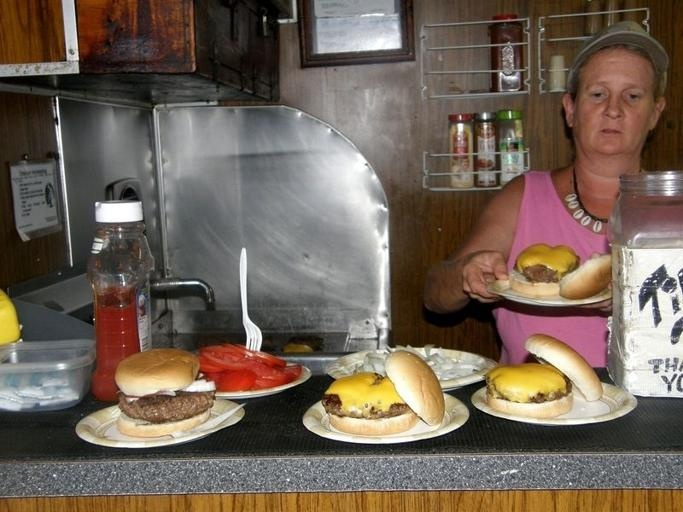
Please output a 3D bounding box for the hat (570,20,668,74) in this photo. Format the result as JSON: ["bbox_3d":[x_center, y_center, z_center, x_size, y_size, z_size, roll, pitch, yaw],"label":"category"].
[{"bbox_3d":[0.832,-0.626,1.641,0.252,0.145,0.162,3,13,21],"label":"hat"}]

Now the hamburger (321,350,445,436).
[{"bbox_3d":[0.073,0.234,0.975,0.180,0.096,0.127,3,4,0],"label":"hamburger"}]

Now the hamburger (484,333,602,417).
[{"bbox_3d":[0.371,0.214,1.025,0.221,0.125,0.166,-2,5,-24],"label":"hamburger"}]

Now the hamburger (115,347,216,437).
[{"bbox_3d":[-0.321,0.251,0.996,0.159,0.102,0.160,6,0,-14],"label":"hamburger"}]

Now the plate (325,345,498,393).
[{"bbox_3d":[0.229,0.274,1.377,0.277,0.032,0.281,9,-26,1],"label":"plate"}]

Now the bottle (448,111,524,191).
[{"bbox_3d":[0.566,-0.416,2.143,0.383,0.336,0.133,-2,2,-3],"label":"bottle"}]

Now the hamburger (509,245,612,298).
[{"bbox_3d":[0.482,0.049,1.231,0.150,0.054,0.146,-9,-3,28],"label":"hamburger"}]

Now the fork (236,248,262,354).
[{"bbox_3d":[-0.305,0.138,1.844,0.057,0.392,0.062,-4,17,-8],"label":"fork"}]
